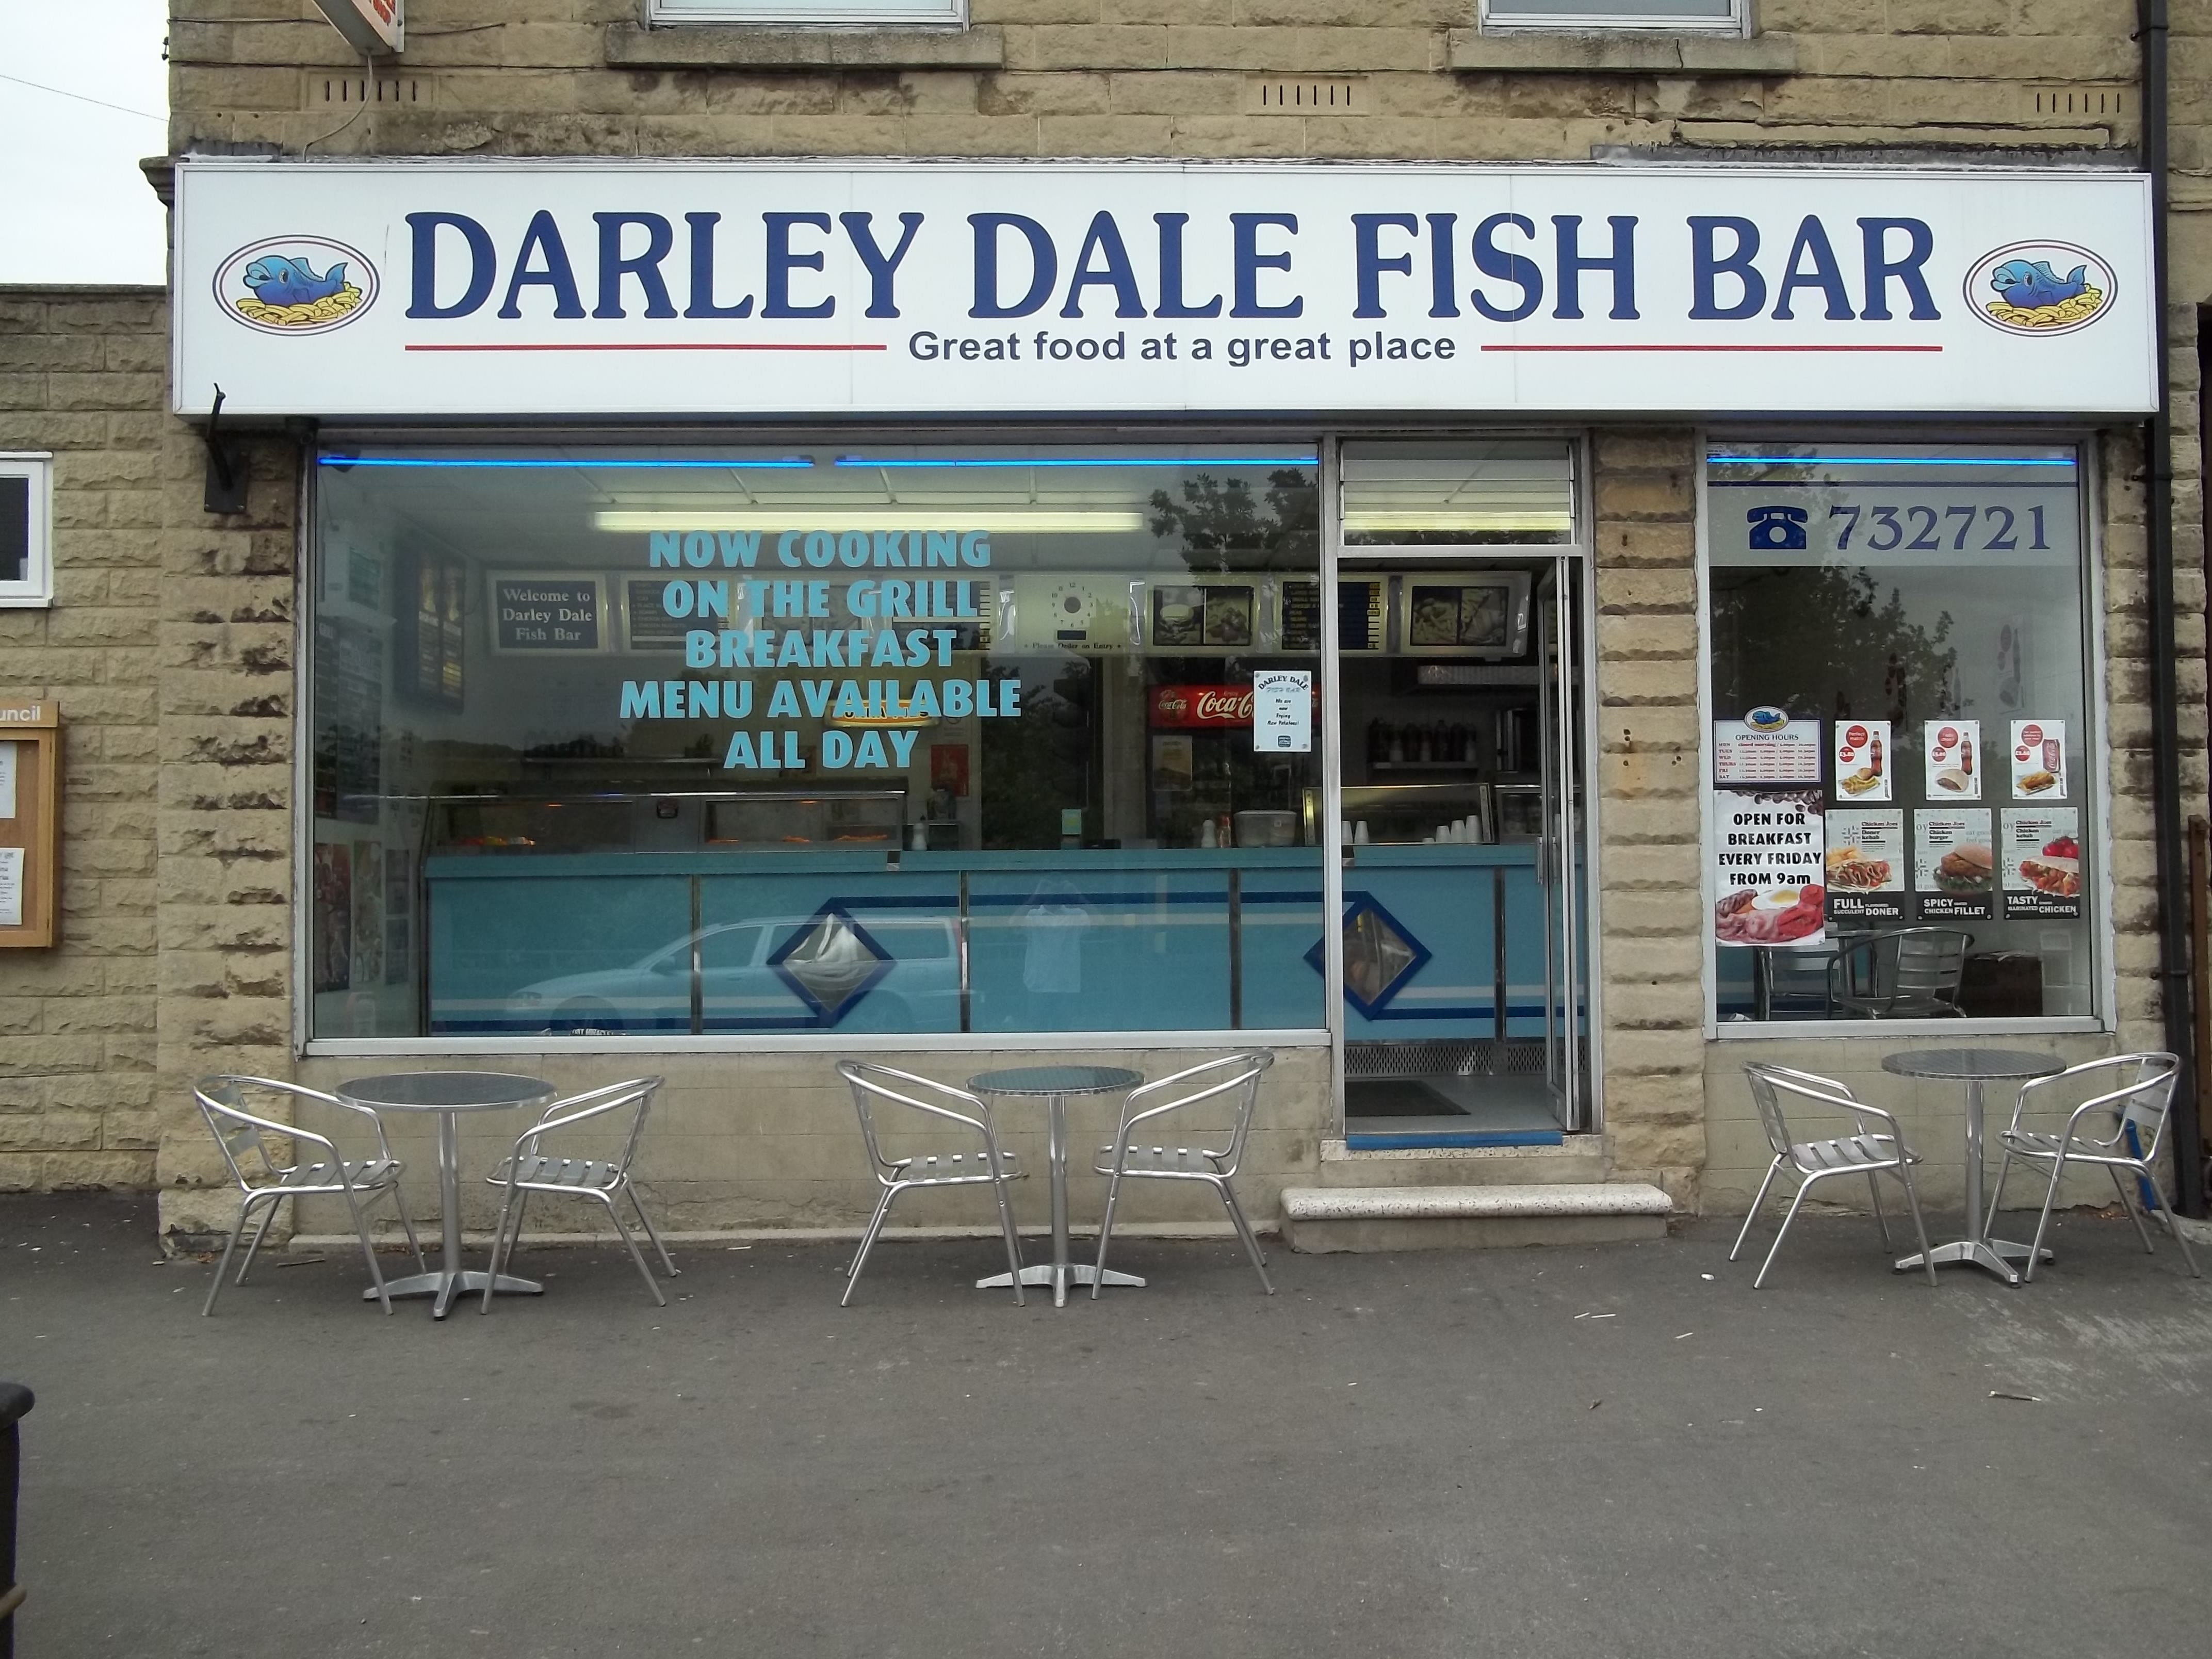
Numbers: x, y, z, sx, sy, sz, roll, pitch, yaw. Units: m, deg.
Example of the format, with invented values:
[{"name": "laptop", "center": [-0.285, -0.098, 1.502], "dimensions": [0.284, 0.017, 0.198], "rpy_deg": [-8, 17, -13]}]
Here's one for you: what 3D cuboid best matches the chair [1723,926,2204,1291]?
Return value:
[{"name": "chair", "center": [3.849, 1.315, 10.355], "dimensions": [1.546, 0.944, 0.800], "rpy_deg": [-1, 1, 10]}]
